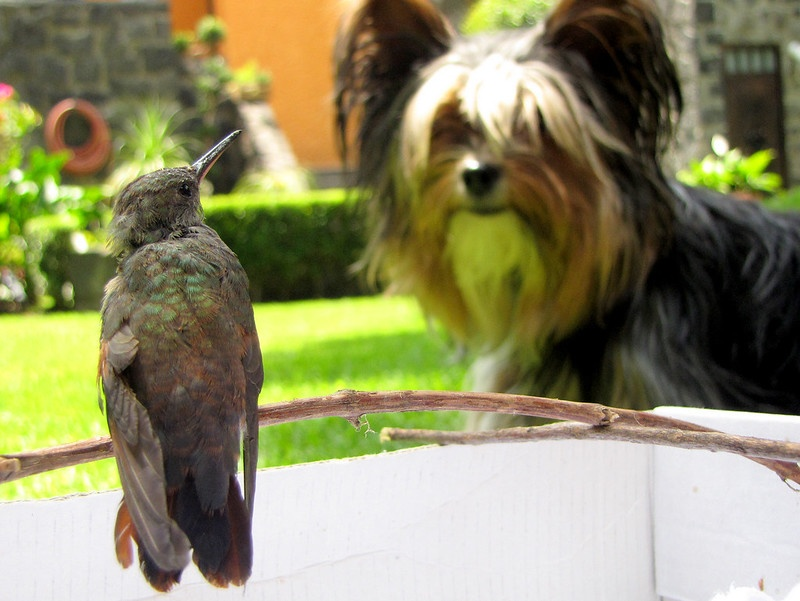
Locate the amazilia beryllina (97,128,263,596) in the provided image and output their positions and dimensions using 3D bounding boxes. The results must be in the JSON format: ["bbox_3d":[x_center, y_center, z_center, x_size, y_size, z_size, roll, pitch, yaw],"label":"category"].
[{"bbox_3d":[-0.666,0.174,3.450,0.496,1.360,0.530,-2,8,-16],"label":"amazilia beryllina"}]
